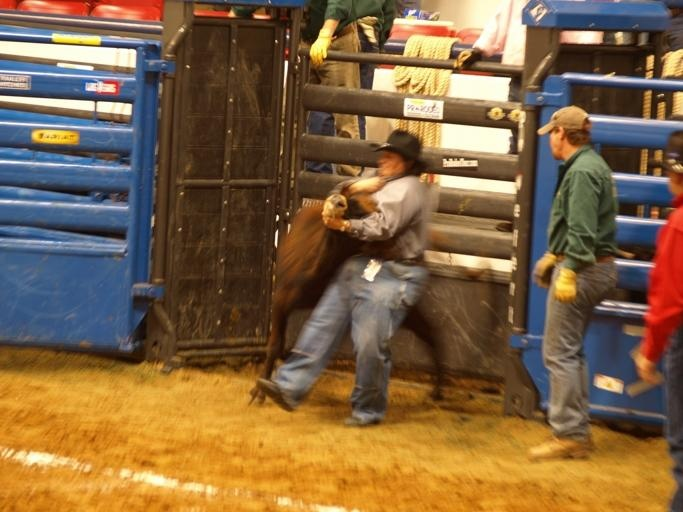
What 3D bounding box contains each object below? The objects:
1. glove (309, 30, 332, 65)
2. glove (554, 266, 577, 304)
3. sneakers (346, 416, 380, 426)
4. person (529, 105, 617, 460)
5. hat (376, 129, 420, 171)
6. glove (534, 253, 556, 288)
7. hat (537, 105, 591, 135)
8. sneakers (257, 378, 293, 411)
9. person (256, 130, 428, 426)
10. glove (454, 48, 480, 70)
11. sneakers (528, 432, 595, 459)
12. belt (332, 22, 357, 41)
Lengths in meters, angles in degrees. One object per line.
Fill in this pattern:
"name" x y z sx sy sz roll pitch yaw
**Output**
"glove" -0.183 -1.779 5.176 0.166 0.291 0.169 6 9 14
"glove" 1.432 0.194 3.933 0.155 0.210 0.075 -1 6 -17
"sneakers" 0.152 1.240 4.574 0.252 0.105 0.086 6 -5 -9
"person" 1.545 0.194 4.066 0.517 2.343 0.442 8 10 23
"hat" 0.444 -0.753 4.387 0.304 0.296 0.214 5 9 8
"glove" 1.423 0.096 4.261 0.071 0.207 0.163 23 28 6
"hat" 1.514 -0.910 4.129 0.282 0.165 0.184 5 7 32
"sneakers" -0.476 1.006 4.411 0.314 0.105 0.133 41 27 6
"person" 0.121 0.182 4.387 1.022 2.166 0.364 3 9 -6
"glove" 1.077 -1.649 5.083 0.152 0.199 0.264 12 12 41
"sneakers" 1.477 1.297 4.179 0.471 0.198 0.161 2 -5 -1
"belt" 0.049 -2.037 5.504 0.268 0.180 0.102 -5 13 -44
